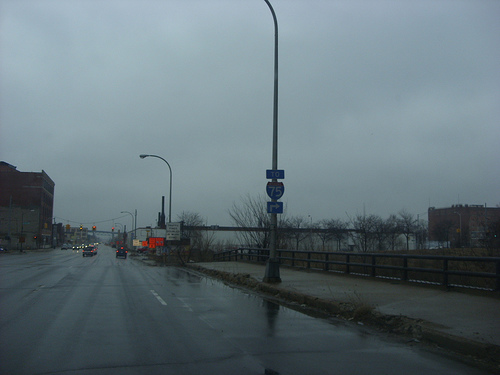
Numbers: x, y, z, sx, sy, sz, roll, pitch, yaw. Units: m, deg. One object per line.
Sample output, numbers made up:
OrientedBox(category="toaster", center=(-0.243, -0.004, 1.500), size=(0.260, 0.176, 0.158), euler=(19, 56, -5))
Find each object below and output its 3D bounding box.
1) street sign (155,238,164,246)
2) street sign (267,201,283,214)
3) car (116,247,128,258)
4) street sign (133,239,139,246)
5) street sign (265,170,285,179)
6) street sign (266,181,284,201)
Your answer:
OrientedBox(category="street sign", center=(-9.123, 5.400, 49.014), size=(0.920, 0.973, 0.438), euler=(-1, 0, 42))
OrientedBox(category="street sign", center=(0.932, 0.781, 19.063), size=(0.587, 0.490, 0.557), euler=(-2, -7, 1))
OrientedBox(category="car", center=(-18.031, 9.156, 68.595), size=(1.066, 1.048, 1.926), euler=(3, -3, -15))
OrientedBox(category="street sign", center=(-23.905, 11.501, 102.356), size=(0.943, 1.878, 1.770), euler=(0, -1, -34))
OrientedBox(category="street sign", center=(0.962, -0.488, 19.247), size=(0.661, 0.355, 0.761), euler=(-2, -8, 0))
OrientedBox(category="street sign", center=(0.837, 0.128, 17.134), size=(0.702, 0.949, 0.116), euler=(2, -8, -6))
